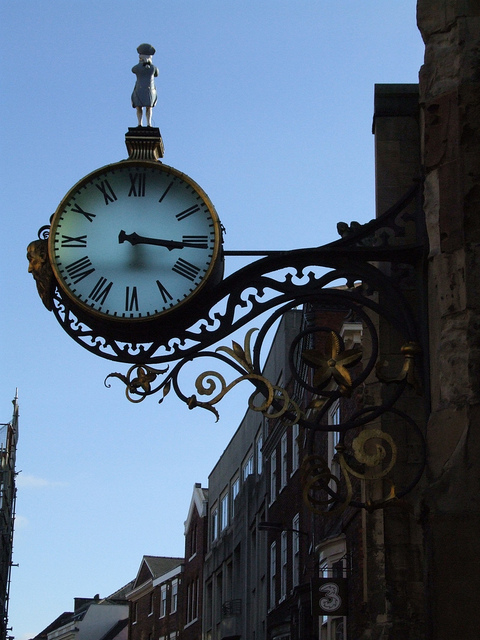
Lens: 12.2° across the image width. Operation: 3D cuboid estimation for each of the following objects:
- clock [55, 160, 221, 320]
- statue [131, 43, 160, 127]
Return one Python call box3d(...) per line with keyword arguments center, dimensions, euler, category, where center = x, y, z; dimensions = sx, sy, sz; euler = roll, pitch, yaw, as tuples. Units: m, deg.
box3d(center=(-0.788, -0.498, 16.746), dimensions=(1.260, 1.679, 0.250), euler=(-2, -42, 0), category="clock")
box3d(center=(-0.721, -1.766, 17.212), dimensions=(0.187, 0.888, 0.326), euler=(1, -29, -3), category="statue")
